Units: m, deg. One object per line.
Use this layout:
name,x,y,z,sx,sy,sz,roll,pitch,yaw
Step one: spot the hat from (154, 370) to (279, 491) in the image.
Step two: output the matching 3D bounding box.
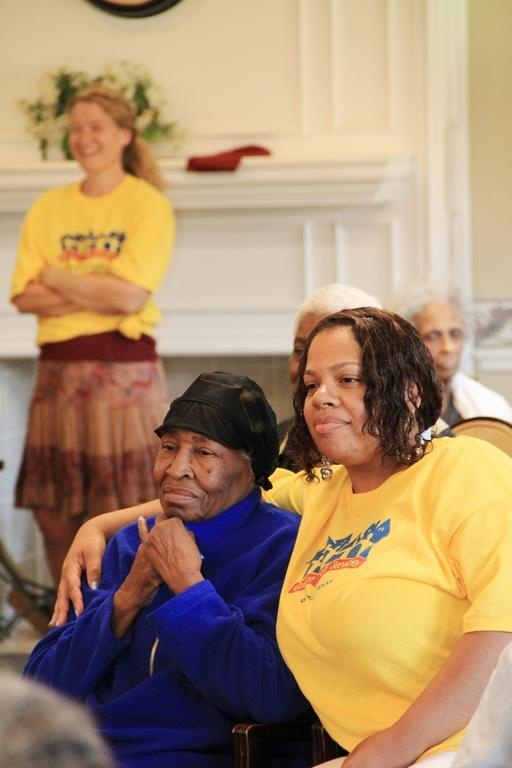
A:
hat,-0.048,0.081,1.506,0.194,0.157,0.235,11,-1,43
